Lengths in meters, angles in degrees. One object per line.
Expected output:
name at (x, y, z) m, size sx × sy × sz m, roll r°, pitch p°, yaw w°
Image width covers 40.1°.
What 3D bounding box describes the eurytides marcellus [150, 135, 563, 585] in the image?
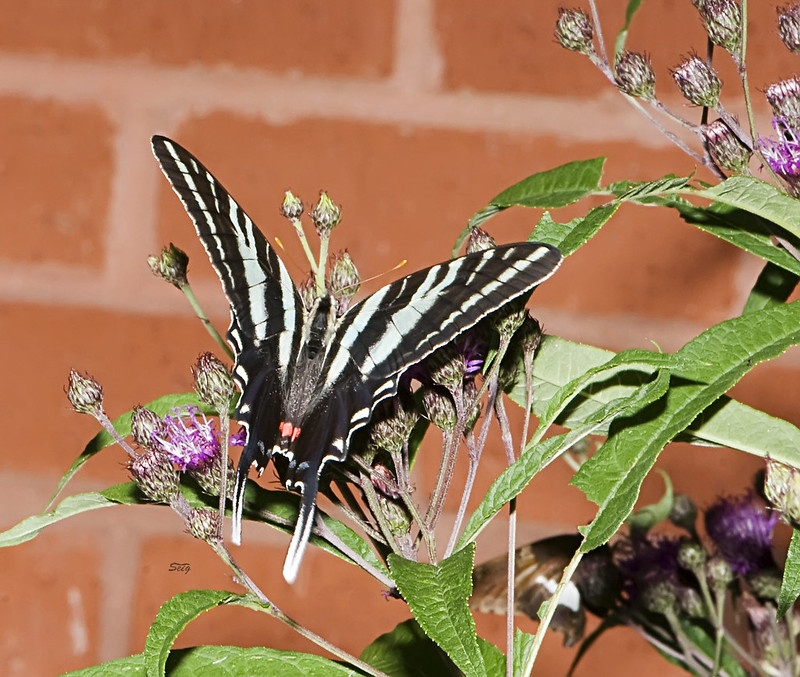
eurytides marcellus at (-0.036, -0.011, 1.055) m, size 0.337 × 0.403 × 0.219 m, roll -12°, pitch -41°, yaw -13°
